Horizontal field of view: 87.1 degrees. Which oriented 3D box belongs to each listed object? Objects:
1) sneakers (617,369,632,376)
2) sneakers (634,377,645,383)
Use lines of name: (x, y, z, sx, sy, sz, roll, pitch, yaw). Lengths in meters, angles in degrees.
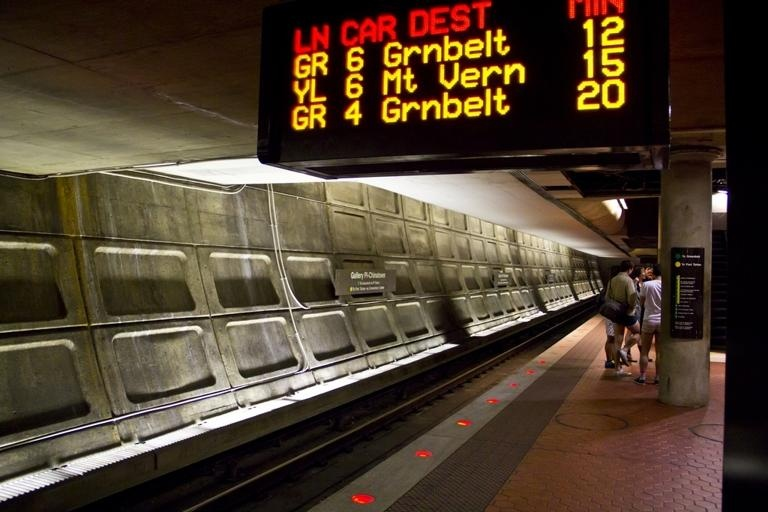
sneakers: (5.898, 2.771, 9.682, 0.428, 0.147, 0.192, 1, 0, -40)
sneakers: (5.763, 2.705, 8.900, 0.211, 0.153, 0.264, 0, -8, 32)
